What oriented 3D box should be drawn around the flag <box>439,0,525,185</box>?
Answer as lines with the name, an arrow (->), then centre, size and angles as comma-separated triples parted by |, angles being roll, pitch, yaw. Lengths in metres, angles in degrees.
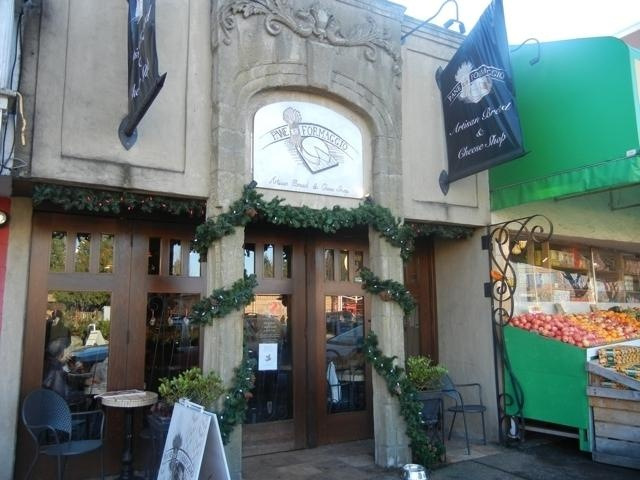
flag -> 2.526, -2.289, 8.168 | 0.218, 2.600, 1.480 | 1, -1, -29

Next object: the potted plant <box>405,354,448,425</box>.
potted plant -> 1.663, 2.357, 8.168 | 0.583, 1.050, 1.073 | 0, -1, 11
